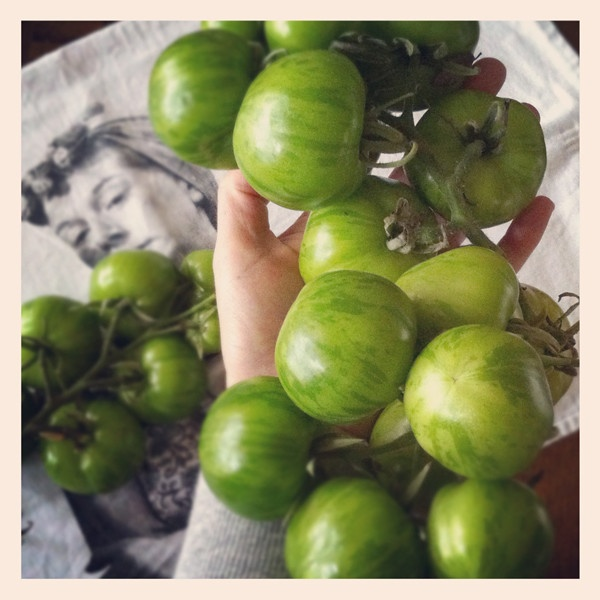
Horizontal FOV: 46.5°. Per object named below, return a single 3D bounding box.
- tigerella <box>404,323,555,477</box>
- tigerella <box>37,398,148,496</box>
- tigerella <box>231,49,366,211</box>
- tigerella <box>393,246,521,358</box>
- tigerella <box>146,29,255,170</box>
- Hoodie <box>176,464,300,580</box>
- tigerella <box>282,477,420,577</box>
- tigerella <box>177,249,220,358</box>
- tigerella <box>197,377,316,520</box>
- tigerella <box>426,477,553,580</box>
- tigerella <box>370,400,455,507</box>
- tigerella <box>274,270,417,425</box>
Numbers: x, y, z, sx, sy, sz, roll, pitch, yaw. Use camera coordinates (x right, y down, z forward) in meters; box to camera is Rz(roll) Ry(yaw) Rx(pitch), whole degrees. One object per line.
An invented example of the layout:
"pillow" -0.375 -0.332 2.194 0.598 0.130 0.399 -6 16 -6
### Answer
"tigerella" 0.140 0.080 0.552 0.114 0.078 0.096 -1 56 0
"tigerella" -0.250 0.178 0.846 0.113 0.075 0.086 -12 56 -7
"tigerella" 0.010 -0.144 0.624 0.115 0.132 0.130 -6 92 7
"tigerella" 0.141 -0.006 0.632 0.090 0.074 0.072 -22 51 -3
"tigerella" -0.089 -0.196 0.725 0.109 0.113 0.138 -5 57 -1
"Hoodie" -0.079 0.250 0.806 0.035 0.120 0.128 2 94 -28
"tigerella" 0.048 0.221 0.662 0.093 0.100 0.105 -19 55 15
"tigerella" -0.128 0.005 0.910 0.077 0.047 0.116 -4 92 12
"tigerella" -0.046 0.142 0.664 0.109 0.128 0.121 -8 15 14
"tigerella" 0.177 0.189 0.683 0.098 0.110 0.058 -31 18 13
"tigerella" 0.098 0.143 0.659 0.072 0.029 0.099 -24 88 -21
"tigerella" 0.036 0.037 0.586 0.098 0.121 0.107 18 22 -15
